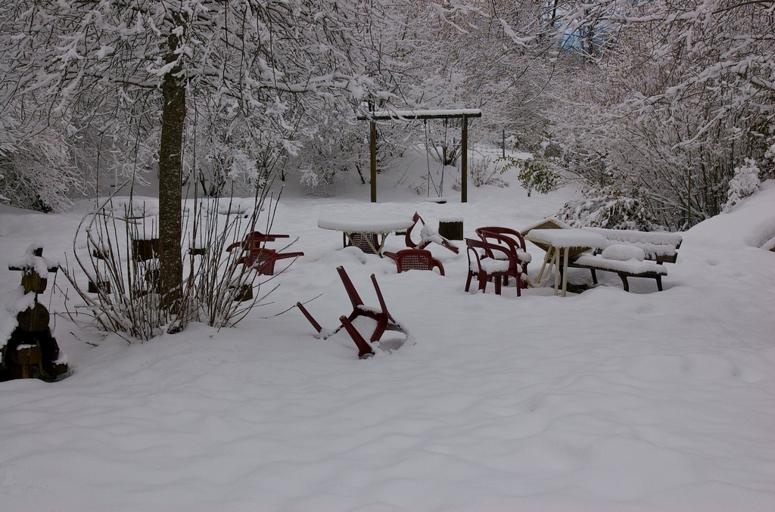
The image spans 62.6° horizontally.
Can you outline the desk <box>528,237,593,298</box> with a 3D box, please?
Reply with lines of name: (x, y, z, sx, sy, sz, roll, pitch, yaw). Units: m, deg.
desk: (2.511, 0.113, 9.530, 0.844, 0.958, 0.972, -3, 12, -16)
